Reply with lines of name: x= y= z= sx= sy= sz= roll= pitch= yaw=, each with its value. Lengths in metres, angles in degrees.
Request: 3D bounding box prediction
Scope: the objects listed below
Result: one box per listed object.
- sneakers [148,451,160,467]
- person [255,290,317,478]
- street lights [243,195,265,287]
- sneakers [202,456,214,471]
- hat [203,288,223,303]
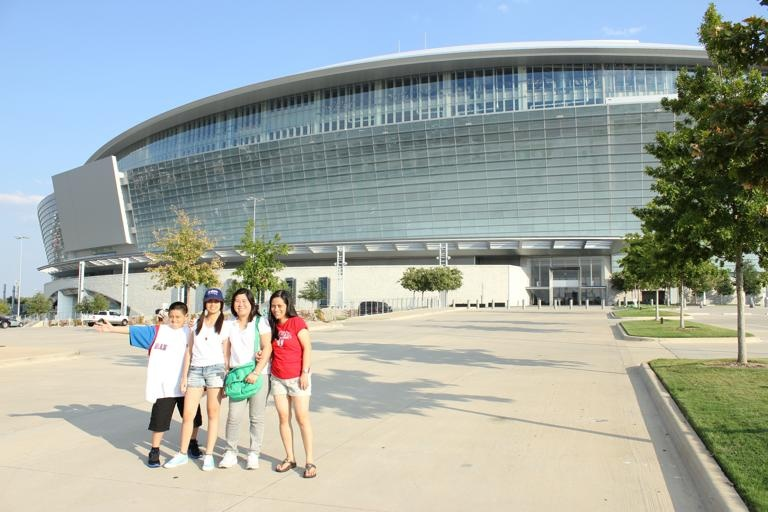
sneakers: x=-3.763 y=3.287 z=9.195 sx=0.205 sy=0.271 sz=0.313 roll=-1 pitch=1 yaw=-23
person: x=-1.476 y=2.016 z=9.066 sx=0.853 sy=2.897 sz=0.569 roll=0 pitch=2 yaw=10
street lights: x=-7.242 y=-0.906 z=31.340 sx=0.992 sy=4.317 sz=0.840 roll=3 pitch=13 yaw=28
sneakers: x=-2.843 y=3.325 z=9.120 sx=0.193 sy=0.224 sz=0.314 roll=-1 pitch=1 yaw=-19
hat: x=-2.793 y=0.656 z=9.216 sx=0.262 sy=0.136 sz=0.362 roll=-1 pitch=-4 yaw=-9
